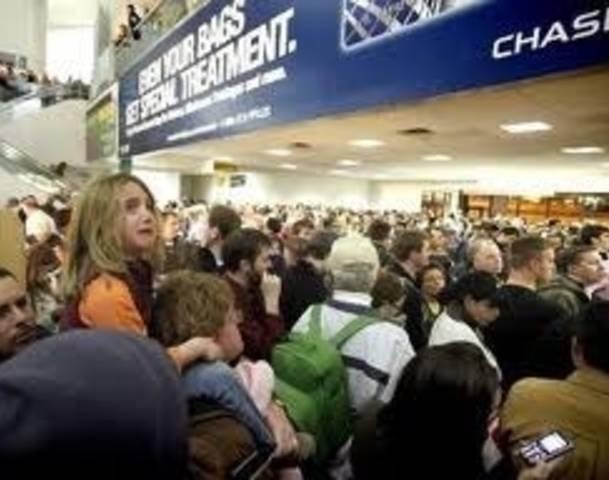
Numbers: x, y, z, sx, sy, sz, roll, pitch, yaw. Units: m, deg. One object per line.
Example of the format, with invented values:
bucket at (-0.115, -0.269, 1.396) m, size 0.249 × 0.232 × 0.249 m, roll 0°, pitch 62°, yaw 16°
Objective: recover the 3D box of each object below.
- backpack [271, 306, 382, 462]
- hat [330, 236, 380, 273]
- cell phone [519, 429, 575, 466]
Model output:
backpack at (0.055, 0.436, 1.339) m, size 0.248 × 0.419 × 0.387 m, roll 13°, pitch 28°, yaw 39°
hat at (0.154, 0.036, 1.251) m, size 0.090 × 0.101 × 0.127 m, roll -1°, pitch 5°, yaw -7°
cell phone at (0.681, 0.583, 1.170) m, size 0.136 × 0.033 × 0.070 m, roll -16°, pitch 55°, yaw -12°
